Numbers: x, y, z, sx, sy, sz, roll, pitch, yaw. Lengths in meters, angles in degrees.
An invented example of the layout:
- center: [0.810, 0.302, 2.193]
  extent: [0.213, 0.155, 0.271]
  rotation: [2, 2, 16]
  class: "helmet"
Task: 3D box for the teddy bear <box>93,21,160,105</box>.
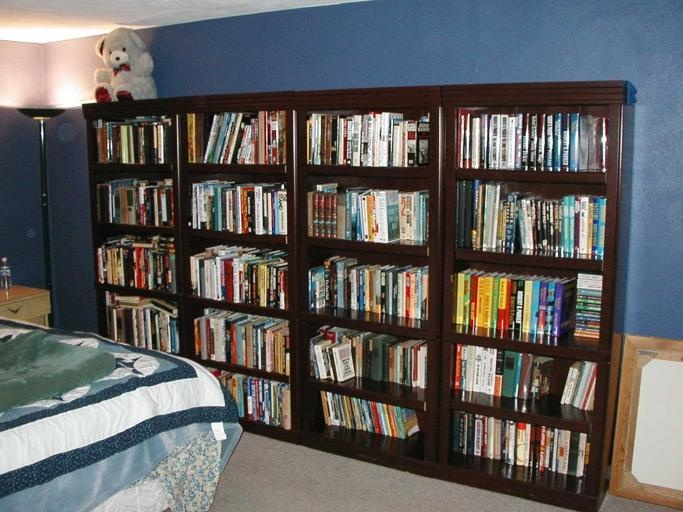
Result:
- center: [-1.651, -1.441, 4.586]
  extent: [0.485, 0.587, 0.403]
  rotation: [0, 6, 21]
  class: "teddy bear"
